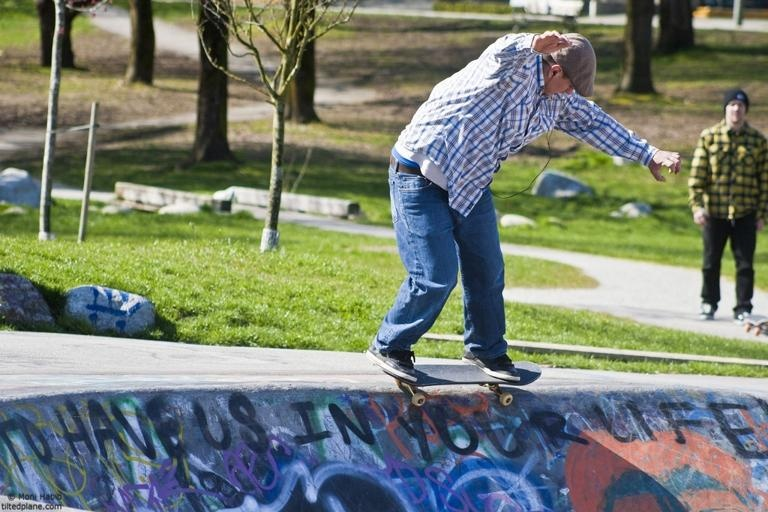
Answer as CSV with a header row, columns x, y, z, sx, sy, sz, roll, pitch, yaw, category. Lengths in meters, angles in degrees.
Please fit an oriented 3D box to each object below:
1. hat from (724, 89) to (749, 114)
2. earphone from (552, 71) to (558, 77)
x,y,z,sx,sy,sz,roll,pitch,yaw,category
5.982,-2.715,32.252,0.396,0.383,0.348,19,7,28,hat
2.616,-2.840,28.926,0.076,0.074,0.021,10,10,12,earphone
